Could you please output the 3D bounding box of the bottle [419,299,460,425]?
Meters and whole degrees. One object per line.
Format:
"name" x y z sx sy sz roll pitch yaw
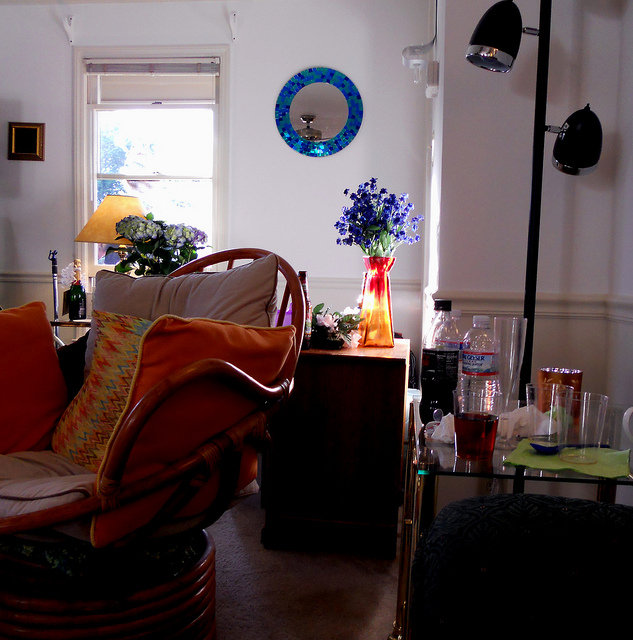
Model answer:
"bottle" 0.309 0.094 1.594 0.101 0.326 0.127 4 12 9

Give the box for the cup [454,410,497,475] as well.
"cup" 0.286 0.214 1.142 0.086 0.111 0.094 0 -5 0

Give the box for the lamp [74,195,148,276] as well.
"lamp" -1.047 -0.428 3.393 0.413 0.513 0.389 -3 17 -33

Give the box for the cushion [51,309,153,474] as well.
"cushion" -0.459 0.186 1.506 0.092 0.339 0.312 15 1 -33

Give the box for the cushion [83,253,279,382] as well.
"cushion" -0.343 -0.073 1.682 0.388 0.394 0.418 -9 18 -43

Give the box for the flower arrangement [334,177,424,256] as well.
"flower arrangement" 0.187 -0.308 1.987 0.252 0.207 0.125 1 7 3

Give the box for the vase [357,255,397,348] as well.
"vase" 0.200 -0.065 2.084 0.163 0.302 0.128 -1 7 -14

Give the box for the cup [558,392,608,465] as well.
"cup" 0.512 0.186 1.179 0.169 0.120 0.067 -6 10 -44

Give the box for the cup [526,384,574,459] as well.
"cup" 0.441 0.191 1.211 0.084 0.140 0.088 6 -15 1
